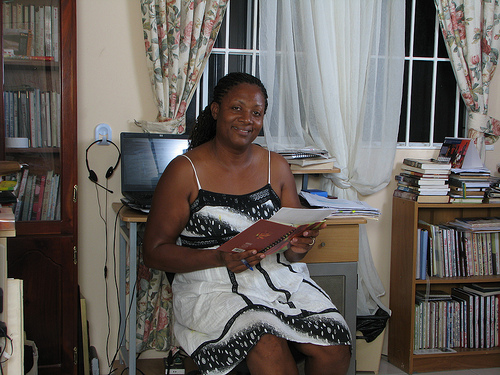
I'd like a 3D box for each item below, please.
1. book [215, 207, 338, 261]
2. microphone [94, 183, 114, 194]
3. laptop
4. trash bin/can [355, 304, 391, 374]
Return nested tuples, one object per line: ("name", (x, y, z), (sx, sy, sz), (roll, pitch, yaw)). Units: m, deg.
("book", (0.087, 0.185, 1.943), (0.499, 0.076, 0.433), (-28, -16, 16))
("microphone", (-0.874, 0.005, 2.832), (0.098, 0.064, 0.017), (-1, 5, -7))
("laptop", (-0.576, -0.131, 2.810), (0.455, 0.412, 0.382), (0, 4, -12))
("trash bin/can", (0.708, 0.952, 2.993), (0.273, 0.366, 0.290), (1, 0, 2))
